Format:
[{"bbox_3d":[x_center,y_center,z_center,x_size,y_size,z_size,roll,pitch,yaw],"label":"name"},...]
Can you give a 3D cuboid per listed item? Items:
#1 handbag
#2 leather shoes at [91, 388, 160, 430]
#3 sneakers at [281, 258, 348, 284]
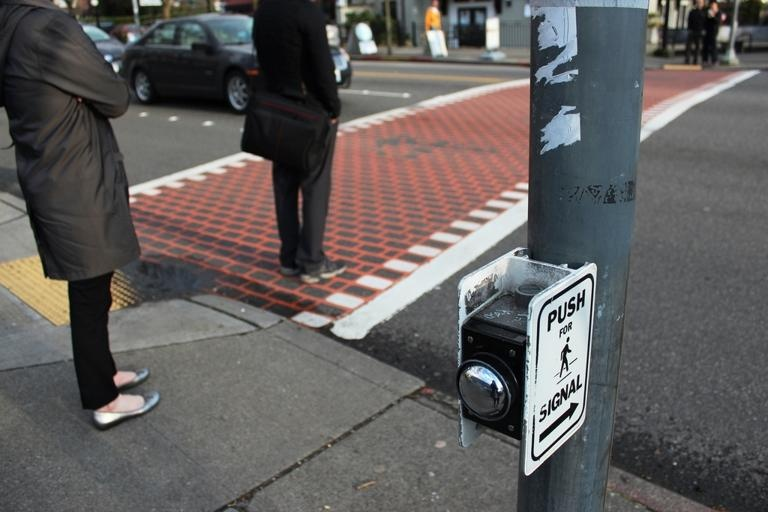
[{"bbox_3d":[-0.858,-1.053,5.349,0.725,0.633,0.302,8,25,23],"label":"handbag"},{"bbox_3d":[-1.665,1.014,4.134,0.448,0.165,0.167,-26,50,-35],"label":"leather shoes"},{"bbox_3d":[-0.647,0.091,5.837,0.567,0.245,0.245,-19,35,-37],"label":"sneakers"}]
